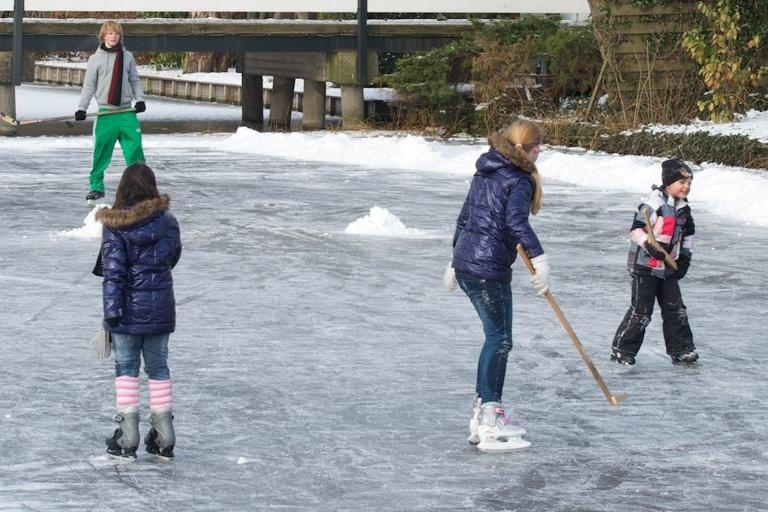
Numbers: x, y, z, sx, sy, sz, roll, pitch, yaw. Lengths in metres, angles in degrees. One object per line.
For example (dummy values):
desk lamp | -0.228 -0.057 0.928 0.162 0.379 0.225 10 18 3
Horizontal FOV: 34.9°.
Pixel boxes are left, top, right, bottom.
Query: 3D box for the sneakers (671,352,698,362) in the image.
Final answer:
sneakers | 2.767 0.922 11.157 0.197 0.075 0.101 3 12 37

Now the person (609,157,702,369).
person | 2.570 0.035 11.376 0.890 1.838 0.958 0 0 1

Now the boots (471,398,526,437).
boots | 0.884 1.310 9.549 0.573 0.253 0.291 1 8 2

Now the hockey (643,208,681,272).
hockey | 2.546 -0.176 11.120 0.122 0.593 0.251 -42 6 0
